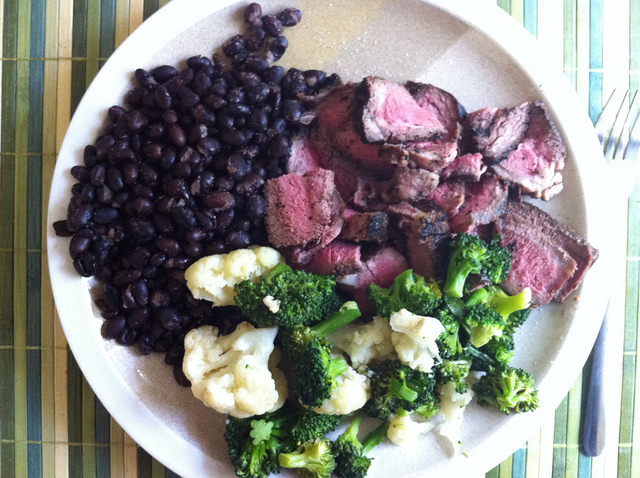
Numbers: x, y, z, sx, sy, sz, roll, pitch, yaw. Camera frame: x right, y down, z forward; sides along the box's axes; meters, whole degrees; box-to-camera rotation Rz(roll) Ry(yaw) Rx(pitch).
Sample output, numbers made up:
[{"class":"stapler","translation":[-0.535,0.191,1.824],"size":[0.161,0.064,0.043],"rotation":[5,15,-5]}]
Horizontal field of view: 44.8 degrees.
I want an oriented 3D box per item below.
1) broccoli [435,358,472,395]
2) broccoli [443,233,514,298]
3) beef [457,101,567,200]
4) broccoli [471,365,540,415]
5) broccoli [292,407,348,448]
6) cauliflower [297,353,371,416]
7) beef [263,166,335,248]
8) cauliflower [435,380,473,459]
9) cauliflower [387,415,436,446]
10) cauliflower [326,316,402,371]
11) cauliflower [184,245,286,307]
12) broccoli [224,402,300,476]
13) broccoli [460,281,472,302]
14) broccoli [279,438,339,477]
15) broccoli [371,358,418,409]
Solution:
[{"class":"broccoli","translation":[0.611,0.653,3.561],"size":[0.103,0.083,0.251],"rotation":[-5,0,-26]},{"class":"broccoli","translation":[0.718,0.127,3.538],"size":[0.298,0.233,0.244],"rotation":[13,34,10]},{"class":"beef","translation":[0.888,-0.451,3.700],"size":[0.557,0.520,0.148],"rotation":[8,40,22]},{"class":"broccoli","translation":[0.864,0.694,3.550],"size":[0.224,0.250,0.166],"rotation":[0,13,14]},{"class":"broccoli","translation":[-0.031,0.844,3.536],"size":[0.191,0.107,0.139],"rotation":[-27,5,-22]},{"class":"cauliflower","translation":[0.094,0.694,3.633],"size":[0.303,0.258,0.343],"rotation":[-12,21,-15]},{"class":"beef","translation":[-0.104,-0.141,3.566],"size":[0.298,0.350,0.095],"rotation":[-6,0,-9]},{"class":"cauliflower","translation":[0.621,0.821,3.588],"size":[0.139,0.409,0.117],"rotation":[-3,17,-5]},{"class":"cauliflower","translation":[0.433,0.873,3.582],"size":[0.232,0.114,0.078],"rotation":[-2,33,-12]},{"class":"cauliflower","translation":[0.206,0.446,3.590],"size":[0.282,0.253,0.222],"rotation":[-18,24,-39]},{"class":"cauliflower","translation":[-0.394,0.107,3.597],"size":[0.361,0.274,0.417],"rotation":[7,22,26]},{"class":"broccoli","translation":[-0.260,0.921,3.559],"size":[0.240,0.332,0.268],"rotation":[8,26,20]},{"class":"broccoli","translation":[0.677,0.240,3.574],"size":[0.017,0.069,0.067],"rotation":[14,12,-9]},{"class":"broccoli","translation":[-0.045,1.001,3.512],"size":[0.272,0.154,0.114],"rotation":[-1,33,-10]},{"class":"broccoli","translation":[0.334,0.649,3.506],"size":[0.154,0.256,0.144],"rotation":[-18,23,-40]}]
